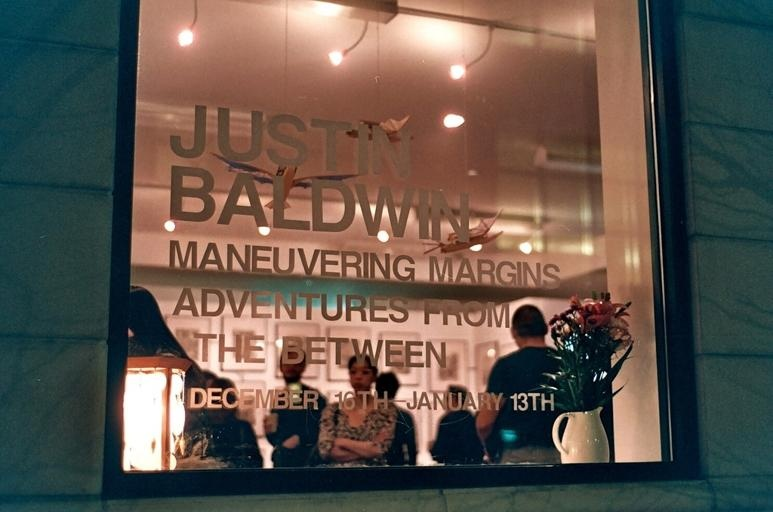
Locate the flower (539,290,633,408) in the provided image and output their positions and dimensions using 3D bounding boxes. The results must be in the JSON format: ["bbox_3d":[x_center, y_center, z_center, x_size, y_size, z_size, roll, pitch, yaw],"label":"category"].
[{"bbox_3d":[0.971,0.470,4.696,0.349,0.523,0.366,1,-9,37],"label":"flower"}]

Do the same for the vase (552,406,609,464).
[{"bbox_3d":[0.884,0.852,4.567,0.290,0.294,0.201,-8,13,-25],"label":"vase"}]
